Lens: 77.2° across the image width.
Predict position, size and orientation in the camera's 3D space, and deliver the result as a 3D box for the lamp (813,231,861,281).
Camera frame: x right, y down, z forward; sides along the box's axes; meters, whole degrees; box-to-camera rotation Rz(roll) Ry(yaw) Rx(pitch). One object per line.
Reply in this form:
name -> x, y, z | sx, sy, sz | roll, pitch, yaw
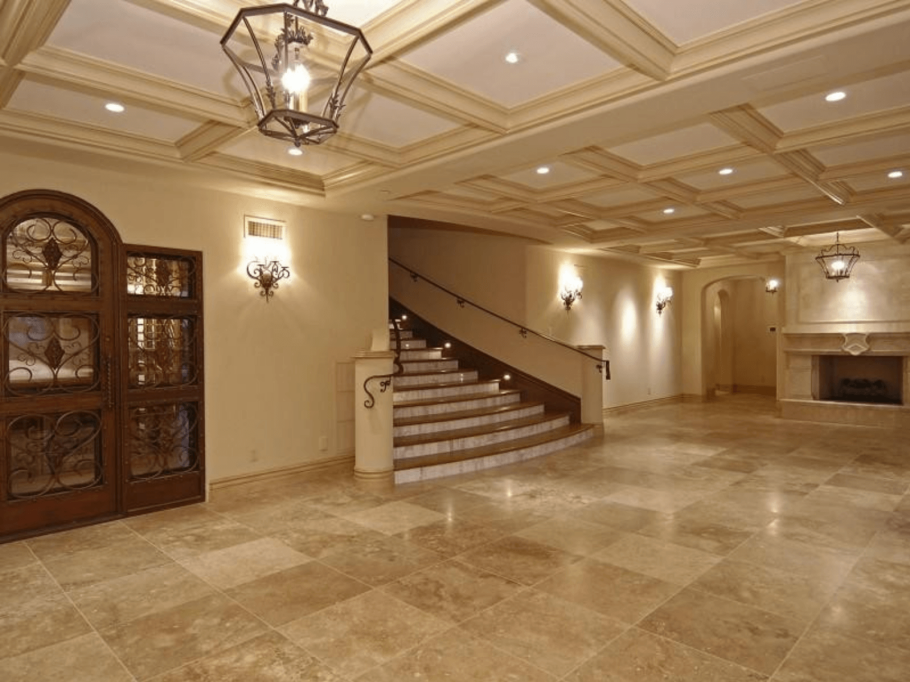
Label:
lamp -> 7.103, -1.572, 10.868 | 0.684, 0.966, 0.672 | 18, -15, -38
